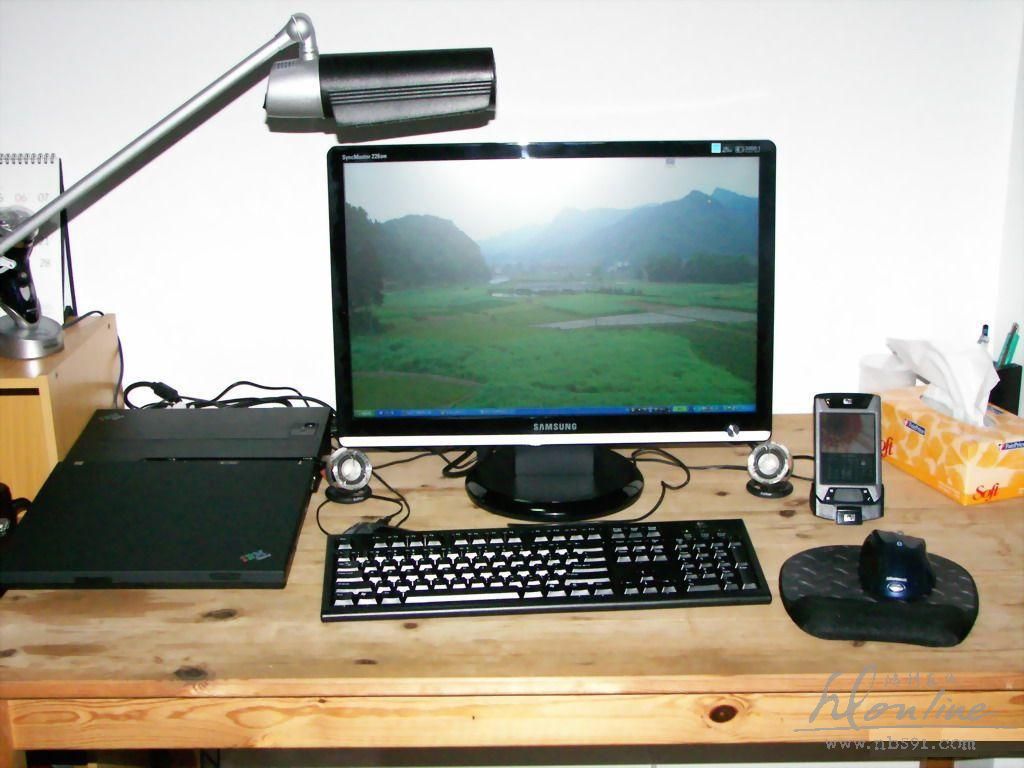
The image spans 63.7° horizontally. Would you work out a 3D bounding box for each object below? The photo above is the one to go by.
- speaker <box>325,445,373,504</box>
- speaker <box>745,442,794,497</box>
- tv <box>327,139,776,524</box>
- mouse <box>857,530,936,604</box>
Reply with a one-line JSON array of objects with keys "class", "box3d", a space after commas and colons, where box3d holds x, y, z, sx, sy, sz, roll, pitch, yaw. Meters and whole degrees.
[{"class": "speaker", "box3d": [-0.272, 0.153, 1.423, 0.094, 0.086, 0.090, -1, 10, -18]}, {"class": "speaker", "box3d": [0.424, 0.149, 1.423, 0.086, 0.081, 0.090, -1, 19, 3]}, {"class": "tv", "box3d": [0.064, -0.101, 1.339, 0.711, 0.485, 0.271, 0, 11, 0]}, {"class": "mouse", "box3d": [0.520, 0.241, 1.112, 0.069, 0.030, 0.101, 5, 21, 15]}]
